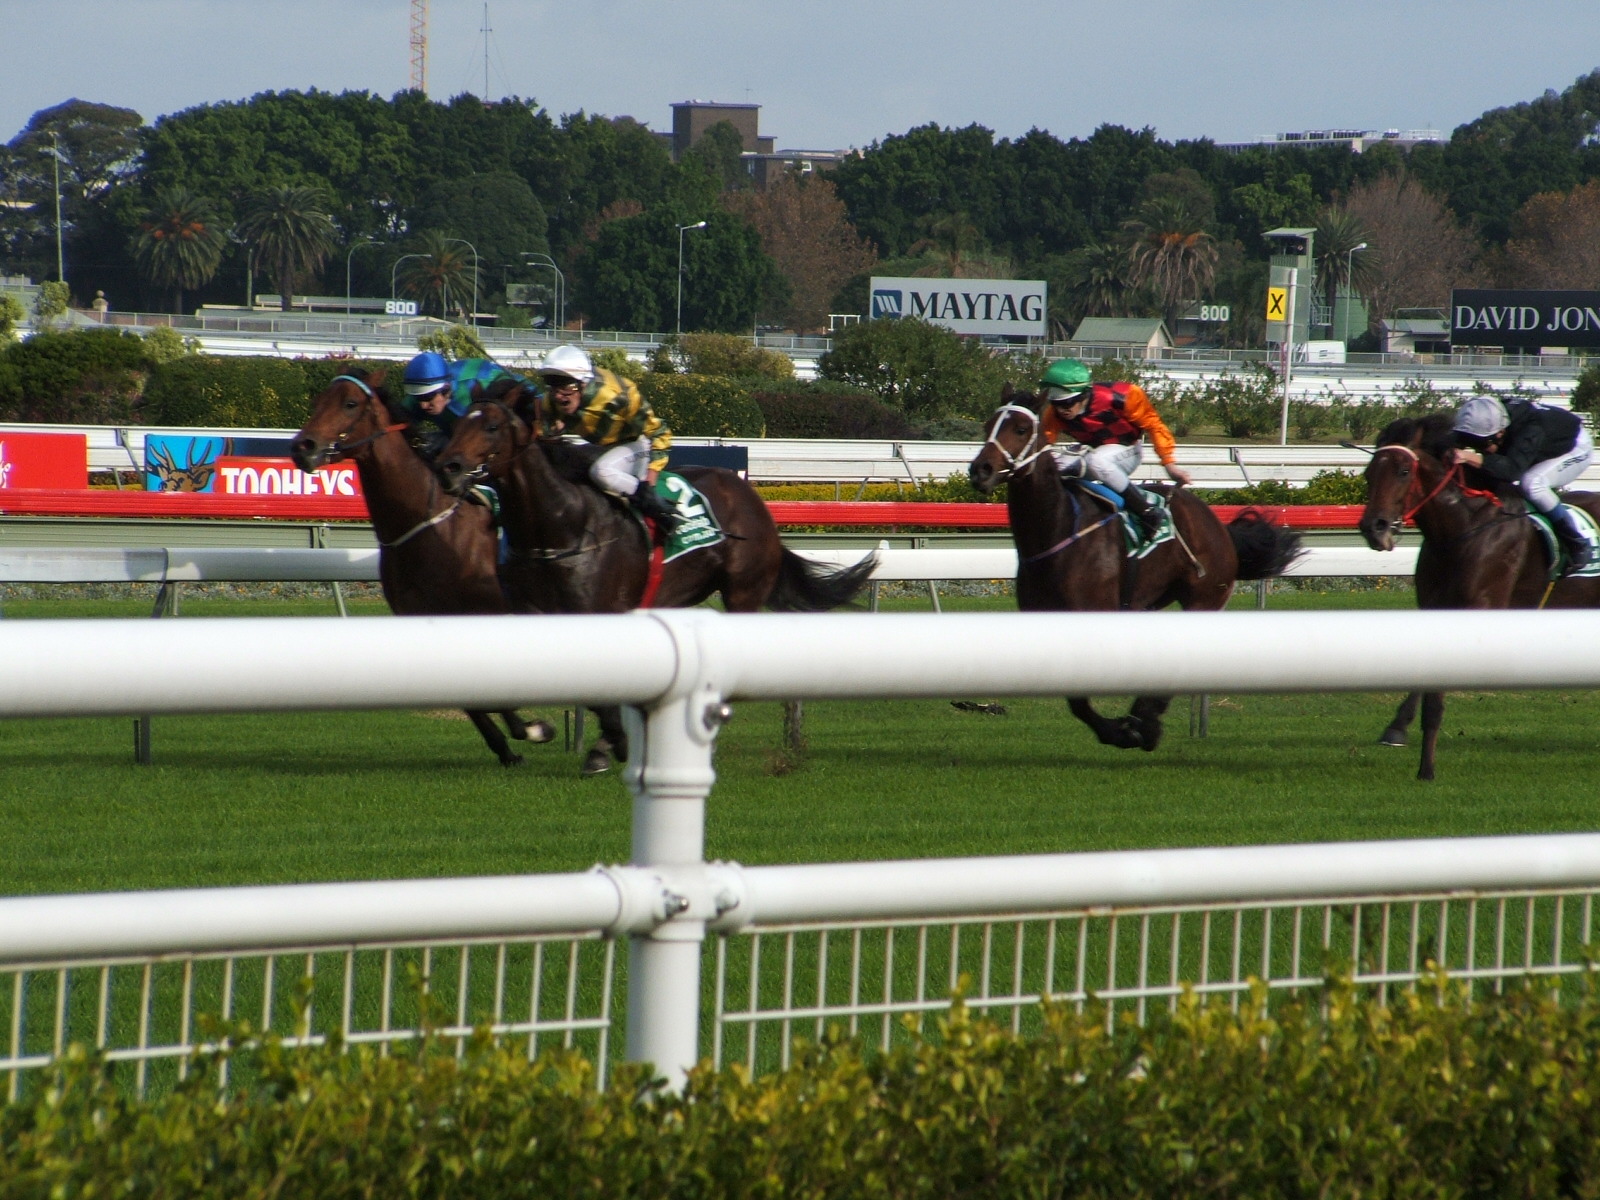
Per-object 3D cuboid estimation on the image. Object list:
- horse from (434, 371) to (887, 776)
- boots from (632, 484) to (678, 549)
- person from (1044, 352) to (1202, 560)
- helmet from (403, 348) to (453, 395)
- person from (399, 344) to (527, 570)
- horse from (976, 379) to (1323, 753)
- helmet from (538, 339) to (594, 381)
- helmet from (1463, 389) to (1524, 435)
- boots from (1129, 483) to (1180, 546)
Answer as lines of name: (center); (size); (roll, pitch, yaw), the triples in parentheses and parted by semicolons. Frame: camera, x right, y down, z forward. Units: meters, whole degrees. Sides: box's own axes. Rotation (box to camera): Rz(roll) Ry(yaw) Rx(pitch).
horse: (-0.430, -0.085, 11.753); (0.431, 1.368, 2.138); (-2, 0, 45)
boots: (-0.483, -0.302, 11.599); (0.074, 0.335, 0.119); (-4, 46, 19)
person: (1.168, -0.569, 12.715); (0.555, 0.809, 0.367); (-19, 7, -1)
helmet: (-1.324, -0.850, 11.590); (0.123, 0.139, 0.180); (4, 51, 19)
person: (-1.294, -0.568, 12.268); (0.368, 0.779, 1.489); (-14, -10, -5)
horse: (1.327, -0.062, 12.410); (0.457, 1.340, 2.144); (-2, -7, 41)
helmet: (-0.806, -0.852, 11.455); (0.105, 0.087, 0.161); (14, -4, 27)
helmet: (2.631, -0.714, 12.317); (0.151, 0.125, 0.235); (-2, 22, 18)
boots: (1.332, -0.307, 12.156); (0.148, 0.256, 0.093); (-7, -2, -18)
